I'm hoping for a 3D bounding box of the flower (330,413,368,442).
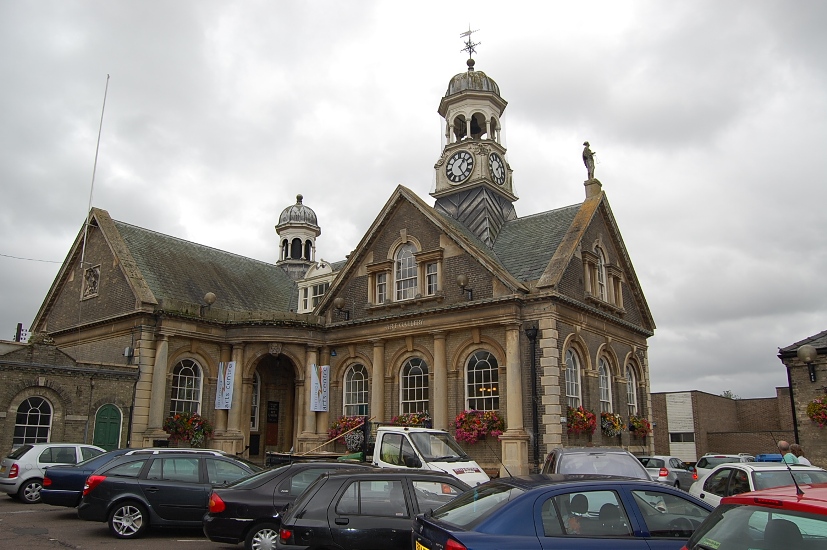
[{"bbox_3d":[-2.979,6.755,28.126,1.612,0.709,1.620,-13,-14,37],"label":"flower"}]

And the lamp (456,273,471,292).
[{"bbox_3d":[2.075,0.263,26.479,0.527,0.702,0.789,-6,-20,13],"label":"lamp"}]

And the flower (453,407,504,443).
[{"bbox_3d":[2.597,6.011,25.249,1.484,0.994,1.465,-4,-7,-7],"label":"flower"}]

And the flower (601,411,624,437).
[{"bbox_3d":[8.706,6.557,27.753,0.518,1.073,1.585,-16,-24,35],"label":"flower"}]

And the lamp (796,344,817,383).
[{"bbox_3d":[15.824,3.530,25.210,0.617,1.426,1.160,-14,-23,32],"label":"lamp"}]

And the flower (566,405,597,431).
[{"bbox_3d":[6.685,5.795,25.508,0.475,1.040,2.023,-17,-24,38],"label":"flower"}]

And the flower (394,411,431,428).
[{"bbox_3d":[-0.017,6.122,26.758,0.934,0.757,1.746,16,-26,-42],"label":"flower"}]

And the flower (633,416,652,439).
[{"bbox_3d":[10.823,7.240,29.914,1.046,0.648,1.290,-6,-18,28],"label":"flower"}]

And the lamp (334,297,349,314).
[{"bbox_3d":[-3.513,1.295,29.869,0.575,0.802,0.774,-4,-19,6],"label":"lamp"}]
